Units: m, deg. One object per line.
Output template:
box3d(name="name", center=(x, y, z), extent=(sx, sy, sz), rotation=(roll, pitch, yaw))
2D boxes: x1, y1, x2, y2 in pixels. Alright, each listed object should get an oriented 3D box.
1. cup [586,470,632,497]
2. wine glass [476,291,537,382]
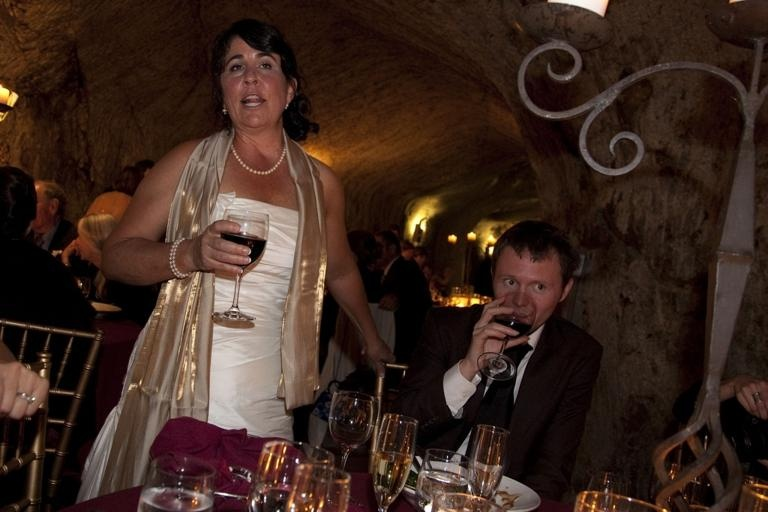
box3d(name="cup", center=(0.666, 0.666, 1.771), extent=(0.104, 0.100, 0.106), rotation=(3, -11, 1))
box3d(name="wine glass", center=(0.539, 0.411, 2.641), extent=(0.202, 0.285, 0.429), rotation=(3, -16, 16))
